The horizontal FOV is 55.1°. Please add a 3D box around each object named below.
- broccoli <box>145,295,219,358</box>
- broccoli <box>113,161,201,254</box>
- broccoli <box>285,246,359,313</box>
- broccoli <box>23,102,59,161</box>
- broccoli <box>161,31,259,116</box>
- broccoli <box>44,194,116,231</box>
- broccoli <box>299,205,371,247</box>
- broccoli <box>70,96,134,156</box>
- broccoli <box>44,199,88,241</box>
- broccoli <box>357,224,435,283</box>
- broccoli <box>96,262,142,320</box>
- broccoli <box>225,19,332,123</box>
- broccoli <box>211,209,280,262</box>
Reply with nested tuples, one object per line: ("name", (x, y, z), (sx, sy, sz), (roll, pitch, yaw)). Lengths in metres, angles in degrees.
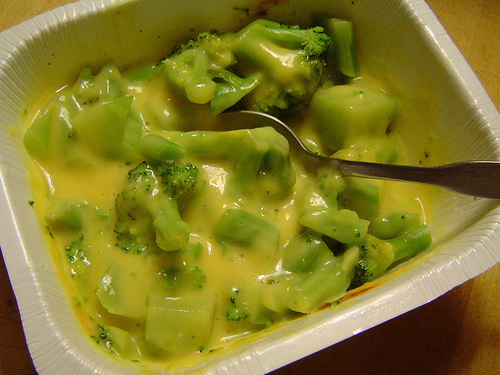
("broccoli", (-0.239, 0.470, 1.616), (0.194, 0.081, 0.214), (0, 91, -1))
("broccoli", (-0.333, 0.061, 1.718), (0.245, 0.118, 0.354), (1, 84, 2))
("broccoli", (0.257, 0.360, 1.717), (0.148, 0.094, 0.301), (40, 67, 21))
("broccoli", (-0.774, -0.197, 1.810), (0.097, 0.075, 0.204), (18, 76, -1))
("broccoli", (-0.174, -0.439, 1.820), (0.318, 0.105, 0.331), (-41, 93, -13))
("broccoli", (-0.612, 0.097, 1.723), (0.216, 0.058, 0.130), (19, 71, -9))
("broccoli", (0.307, 0.130, 1.734), (0.225, 0.073, 0.147), (4, 82, -2))
("broccoli", (-0.533, -0.213, 1.717), (0.182, 0.077, 0.207), (-14, 104, 8))
("broccoli", (-0.660, 0.108, 1.710), (0.119, 0.052, 0.134), (-38, 79, -13))
("broccoli", (0.531, 0.261, 1.787), (0.253, 0.116, 0.167), (-23, 69, -7))
("broccoli", (-0.462, 0.376, 1.658), (0.112, 0.038, 0.225), (-23, 84, -7))
("broccoli", (0.112, -0.471, 1.923), (0.369, 0.175, 0.379), (40, 89, -3))
("broccoli", (-0.016, 0.170, 1.718), (0.226, 0.070, 0.158), (24, 90, -7))
